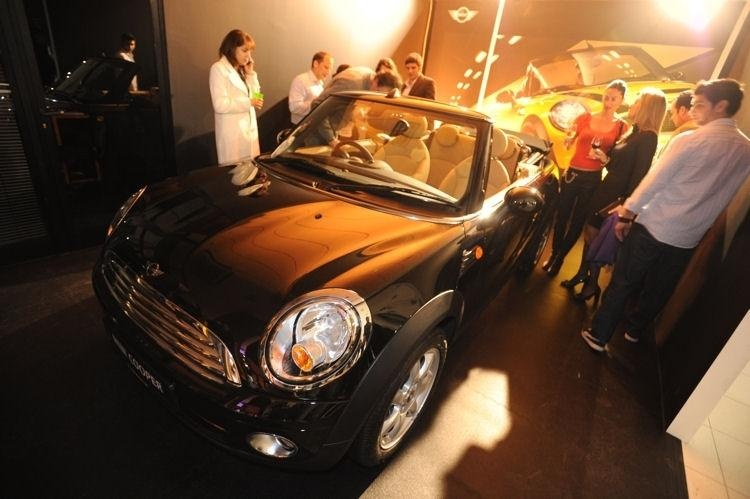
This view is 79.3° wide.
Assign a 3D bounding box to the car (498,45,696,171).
[{"bbox_3d":[3.273,-2.119,6.804,2.426,1.090,1.700,-32,52,-16],"label":"car"}]

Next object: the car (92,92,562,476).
[{"bbox_3d":[0.063,-0.390,4.505,2.724,2.164,4.985,20,30,30],"label":"car"}]

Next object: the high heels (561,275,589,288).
[{"bbox_3d":[2.105,0.344,4.768,0.270,0.122,0.102,-10,32,26],"label":"high heels"}]

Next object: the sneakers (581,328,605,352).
[{"bbox_3d":[1.965,0.808,4.143,0.104,0.119,0.268,-5,31,-12],"label":"sneakers"}]

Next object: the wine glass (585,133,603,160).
[{"bbox_3d":[2.222,-1.036,4.571,0.168,0.275,0.150,0,59,25],"label":"wine glass"}]
